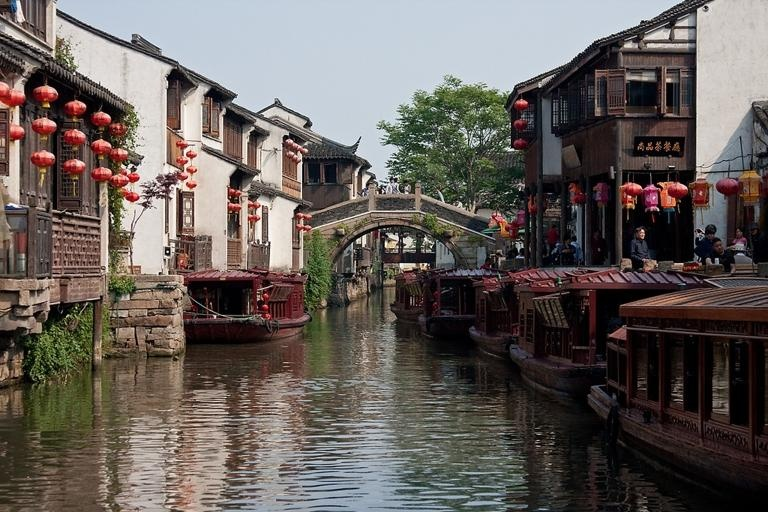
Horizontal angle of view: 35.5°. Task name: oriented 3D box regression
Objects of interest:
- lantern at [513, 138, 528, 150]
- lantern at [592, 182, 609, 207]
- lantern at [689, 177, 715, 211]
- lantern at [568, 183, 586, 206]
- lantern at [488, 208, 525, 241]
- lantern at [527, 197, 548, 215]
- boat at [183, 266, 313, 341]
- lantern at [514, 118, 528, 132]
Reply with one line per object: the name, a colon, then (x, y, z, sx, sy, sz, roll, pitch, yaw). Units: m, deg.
lantern: (4.563, -3.674, 39.617, 0.414, 0.324, 0.419, -3, 8, 12)
lantern: (6.514, -1.824, 35.601, 0.411, 0.687, 0.655, 3, 7, 8)
lantern: (8.605, -1.709, 32.621, 0.836, 0.935, 0.809, 0, -3, 4)
lantern: (6.032, -1.951, 37.635, 0.613, 0.791, 0.609, 1, 3, 28)
lantern: (4.925, -1.173, 46.032, 1.722, 0.823, 1.590, -1, 1, -7)
lantern: (5.309, -1.719, 40.774, 0.650, 0.339, 0.881, 0, 1, 0)
boat: (-4.715, 1.699, 40.585, 2.800, 2.648, 6.309, 3, 7, 11)
lantern: (4.632, -4.261, 39.097, 0.481, 0.453, 0.468, -5, 3, -12)
